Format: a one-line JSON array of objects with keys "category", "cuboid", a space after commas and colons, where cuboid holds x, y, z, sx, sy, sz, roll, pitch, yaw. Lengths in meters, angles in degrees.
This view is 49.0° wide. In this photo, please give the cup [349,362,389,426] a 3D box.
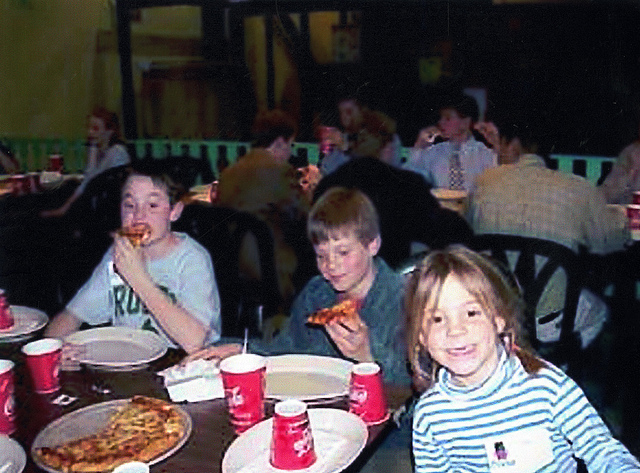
[{"category": "cup", "cuboid": [0.172, 0.559, 2.550, 0.146, 0.181, 0.170, -5, 11, -10]}]

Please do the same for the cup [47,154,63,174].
[{"category": "cup", "cuboid": [-2.005, -0.558, 5.329, 0.110, 0.129, 0.264, -6, 8, -22]}]

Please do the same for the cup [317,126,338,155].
[{"category": "cup", "cuboid": [0.050, -0.746, 5.473, 0.159, 0.214, 0.155, -3, 8, 0]}]

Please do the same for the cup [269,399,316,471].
[{"category": "cup", "cuboid": [-0.093, 0.659, 2.333, 0.154, 0.204, 0.100, -3, 8, -6]}]

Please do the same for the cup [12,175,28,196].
[{"category": "cup", "cuboid": [-2.006, -0.340, 4.705, 0.096, 0.133, 0.163, -6, 8, -24]}]

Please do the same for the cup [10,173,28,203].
[{"category": "cup", "cuboid": [-2.025, -0.326, 4.744, 0.103, 0.174, 0.247, -6, 8, -24]}]

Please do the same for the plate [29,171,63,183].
[{"category": "plate", "cuboid": [-1.957, -0.436, 5.119, 0.143, 0.047, 0.155, 5, 14, 9]}]

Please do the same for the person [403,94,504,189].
[{"category": "person", "cuboid": [1.083, -0.729, 5.520, 0.376, 0.739, 0.671, 20, -11, -39]}]

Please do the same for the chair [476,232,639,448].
[{"category": "chair", "cuboid": [1.072, 0.411, 3.417, 0.714, 1.209, 0.717, -3, 8, 9]}]

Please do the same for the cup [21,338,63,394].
[{"category": "cup", "cuboid": [-1.026, 0.483, 2.626, 0.136, 0.178, 0.132, -3, 8, 0]}]

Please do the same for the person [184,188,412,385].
[{"category": "person", "cuboid": [-0.006, 0.355, 3.317, 0.853, 0.966, 0.659, -11, -2, 3]}]

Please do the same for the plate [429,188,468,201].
[{"category": "plate", "cuboid": [0.935, -0.312, 5.228, 0.244, 0.066, 0.448, -4, 7, -6]}]

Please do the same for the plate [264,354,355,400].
[{"category": "plate", "cuboid": [-0.040, 0.530, 2.661, 0.326, 0.093, 0.267, -3, 7, 1]}]
